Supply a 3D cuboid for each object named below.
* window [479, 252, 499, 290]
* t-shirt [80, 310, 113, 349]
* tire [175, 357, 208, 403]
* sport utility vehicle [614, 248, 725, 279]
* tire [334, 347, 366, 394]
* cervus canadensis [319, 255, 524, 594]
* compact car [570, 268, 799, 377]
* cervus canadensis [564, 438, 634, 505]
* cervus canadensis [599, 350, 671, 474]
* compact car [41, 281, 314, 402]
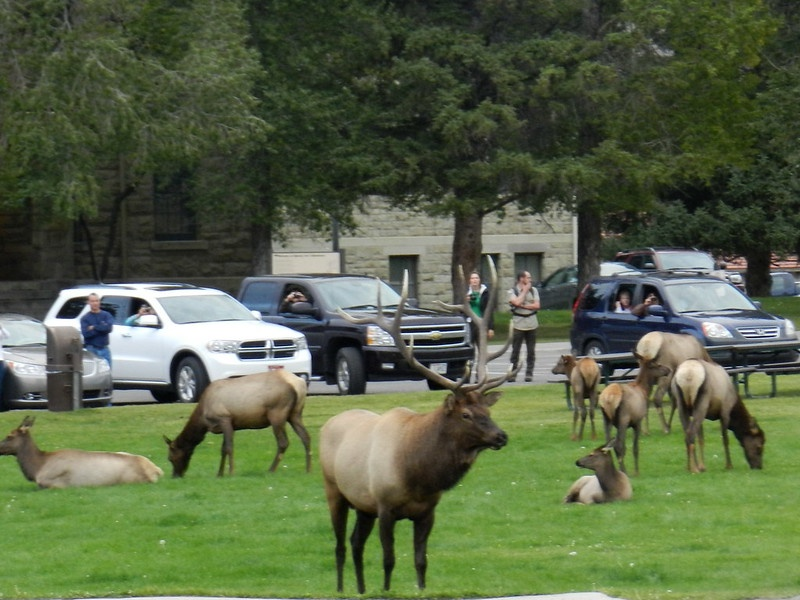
[{"bbox_3d":[3.202,-1.033,66.475,0.384,1.359,1.160,6,7,42],"label":"window"},{"bbox_3d":[-6.420,0.601,41.860,0.729,0.735,0.476,-5,13,-28],"label":"t-shirt"},{"bbox_3d":[-4.245,1.625,40.909,0.364,0.914,1.061,6,-7,-39],"label":"tire"},{"bbox_3d":[7.608,-1.227,55.986,1.401,0.993,2.727,-1,-1,-36],"label":"sport utility vehicle"},{"bbox_3d":[-0.998,1.583,43.088,0.495,1.167,1.314,-5,11,-18],"label":"tire"},{"bbox_3d":[0.275,2.101,32.731,2.141,5.359,2.446,-1,0,-38],"label":"cervus canadensis"},{"bbox_3d":[6.306,0.495,44.543,2.673,1.700,4.285,1,-4,-39],"label":"compact car"},{"bbox_3d":[3.598,3.115,35.177,1.182,1.004,0.464,-1,0,5],"label":"cervus canadensis"},{"bbox_3d":[4.325,2.114,36.571,1.003,2.108,2.683,-1,0,21],"label":"cervus canadensis"},{"bbox_3d":[-4.870,0.850,42.834,5.738,1.910,2.639,-1,-2,37],"label":"compact car"}]
